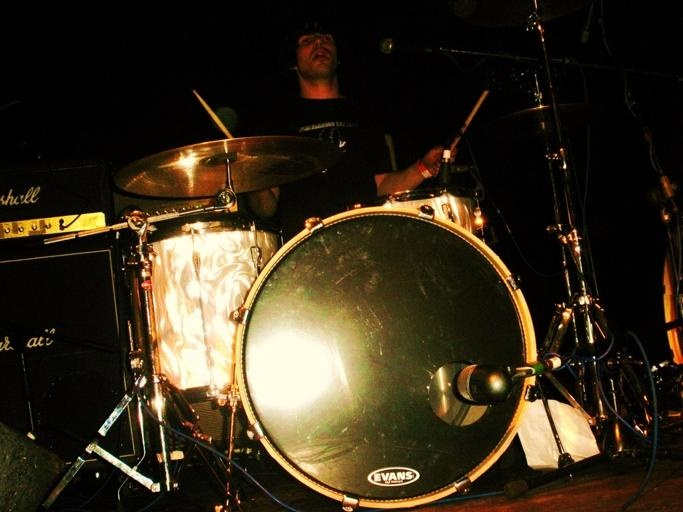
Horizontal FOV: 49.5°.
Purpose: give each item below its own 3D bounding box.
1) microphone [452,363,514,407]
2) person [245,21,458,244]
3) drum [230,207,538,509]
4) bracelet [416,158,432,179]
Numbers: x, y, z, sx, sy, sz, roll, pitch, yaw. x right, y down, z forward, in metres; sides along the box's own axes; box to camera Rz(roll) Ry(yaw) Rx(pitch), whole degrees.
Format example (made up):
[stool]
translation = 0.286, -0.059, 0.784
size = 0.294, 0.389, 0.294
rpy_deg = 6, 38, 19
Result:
[microphone]
translation = 0.530, 0.474, 2.875
size = 0.234, 0.159, 0.171
rpy_deg = -10, 50, 15
[person]
translation = -0.033, -0.625, 4.496
size = 1.142, 0.977, 1.569
rpy_deg = -6, 96, -22
[drum]
translation = 0.180, 0.394, 2.894
size = 1.173, 0.462, 1.065
rpy_deg = -15, 66, -3
[bracelet]
translation = 0.431, -0.435, 3.759
size = 0.071, 0.086, 0.032
rpy_deg = 9, 41, 32
